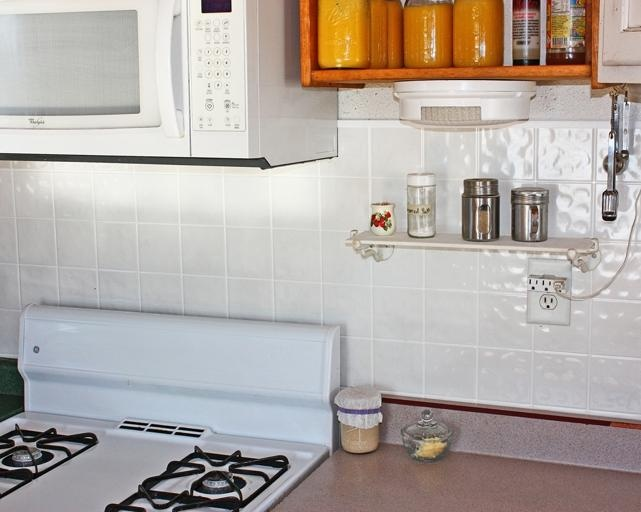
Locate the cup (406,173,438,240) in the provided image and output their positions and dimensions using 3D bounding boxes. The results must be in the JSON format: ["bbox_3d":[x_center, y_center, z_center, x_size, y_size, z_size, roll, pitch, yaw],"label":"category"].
[{"bbox_3d":[0.249,-0.124,1.439,0.064,0.156,0.040,-2,12,1],"label":"cup"}]

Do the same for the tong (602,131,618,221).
[{"bbox_3d":[0.679,-0.181,1.359,0.037,0.215,0.087,4,13,26],"label":"tong"}]

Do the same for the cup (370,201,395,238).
[{"bbox_3d":[0.175,-0.100,1.515,0.062,0.081,0.107,6,14,32],"label":"cup"}]

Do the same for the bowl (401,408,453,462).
[{"bbox_3d":[0.258,0.451,1.495,0.123,0.134,0.121,0,0,0],"label":"bowl"}]

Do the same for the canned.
[{"bbox_3d":[0.101,0.442,1.606,0.141,0.159,0.160,-1,2,-10],"label":"canned"}]
